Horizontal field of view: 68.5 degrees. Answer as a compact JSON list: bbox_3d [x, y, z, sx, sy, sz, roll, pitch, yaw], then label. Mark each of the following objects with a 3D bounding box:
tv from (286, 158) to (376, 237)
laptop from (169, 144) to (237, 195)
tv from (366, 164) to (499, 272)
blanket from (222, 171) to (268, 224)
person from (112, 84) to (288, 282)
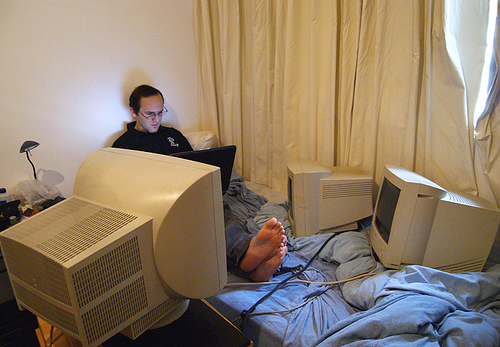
[{"bbox_3d":[0.544,0.155,2.686,0.579,0.455,0.418,-3,14,-1],"label":"tv"},{"bbox_3d":[-0.298,-0.060,2.386,0.369,0.305,0.351,-11,10,-32],"label":"laptop"},{"bbox_3d":[1.084,0.265,2.308,0.584,0.622,0.585,-2,16,-5],"label":"tv"},{"bbox_3d":[-0.037,0.272,2.835,0.134,0.298,0.525,-30,-29,34],"label":"blanket"},{"bbox_3d":[-0.311,-0.029,2.582,1.424,1.126,0.959,8,22,31],"label":"person"}]
